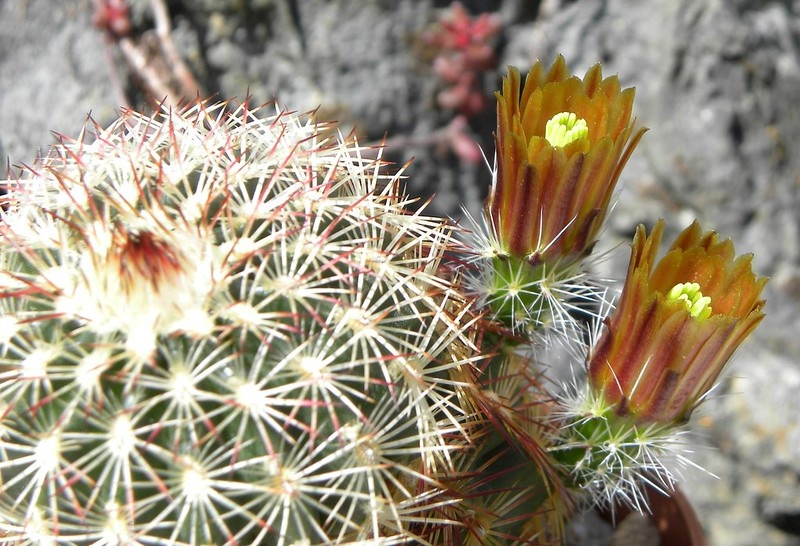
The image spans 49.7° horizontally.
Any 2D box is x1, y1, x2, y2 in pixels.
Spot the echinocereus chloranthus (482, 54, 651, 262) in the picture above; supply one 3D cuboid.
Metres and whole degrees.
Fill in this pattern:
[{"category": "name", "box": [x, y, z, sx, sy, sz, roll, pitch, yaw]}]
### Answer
[{"category": "echinocereus chloranthus", "box": [0.196, -0.104, 1.213, 0.197, 0.278, 0.175, 18, 39, 10]}]
